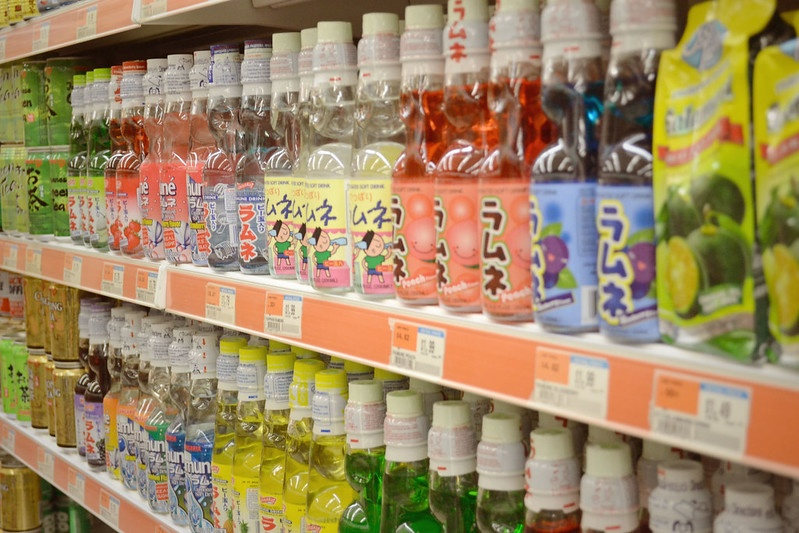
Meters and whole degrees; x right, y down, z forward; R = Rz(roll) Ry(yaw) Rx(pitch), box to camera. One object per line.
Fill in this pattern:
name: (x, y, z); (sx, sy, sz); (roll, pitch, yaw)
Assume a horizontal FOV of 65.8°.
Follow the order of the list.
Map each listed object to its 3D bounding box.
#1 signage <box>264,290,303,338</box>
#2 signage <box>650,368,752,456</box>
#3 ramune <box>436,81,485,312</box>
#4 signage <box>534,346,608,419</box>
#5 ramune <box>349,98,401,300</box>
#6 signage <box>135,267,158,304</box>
signage: (-0.255, 0.107, 1.371); (0.142, 0.104, 0.016); (6, 4, 26)
signage: (0.384, 0.186, 0.789); (0.115, 0.079, 0.025); (14, 6, 37)
ramune: (0.112, -0.128, 1.094); (0.098, 0.413, 0.126); (-2, 7, 15)
signage: (0.247, 0.182, 0.942); (0.147, 0.103, 0.081); (10, -21, 1)
ramune: (-0.042, -0.131, 1.220); (0.115, 0.386, 0.125); (-3, 7, 2)
signage: (-0.726, 0.055, 1.780); (0.050, 0.093, 0.093); (7, -8, -37)
